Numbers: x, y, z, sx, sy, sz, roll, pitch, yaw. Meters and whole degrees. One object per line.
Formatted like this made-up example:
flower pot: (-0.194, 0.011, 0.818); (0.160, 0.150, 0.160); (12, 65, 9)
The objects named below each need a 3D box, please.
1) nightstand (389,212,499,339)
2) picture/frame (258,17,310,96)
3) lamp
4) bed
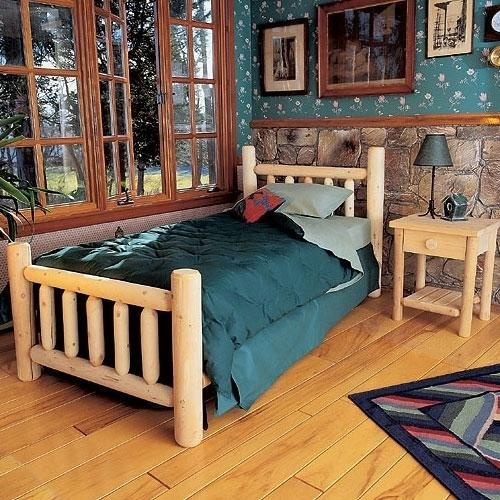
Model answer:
nightstand: (1.318, 0.111, 3.222); (0.932, 0.822, 0.781); (5, 12, 31)
picture/frame: (0.292, -1.643, 3.995); (0.481, 0.614, 0.044); (9, 19, 39)
lamp: (1.249, -0.502, 3.150); (0.237, 0.575, 0.425); (3, 14, 21)
bed: (-0.085, -0.049, 2.856); (1.457, 0.987, 2.419); (8, 15, 33)
